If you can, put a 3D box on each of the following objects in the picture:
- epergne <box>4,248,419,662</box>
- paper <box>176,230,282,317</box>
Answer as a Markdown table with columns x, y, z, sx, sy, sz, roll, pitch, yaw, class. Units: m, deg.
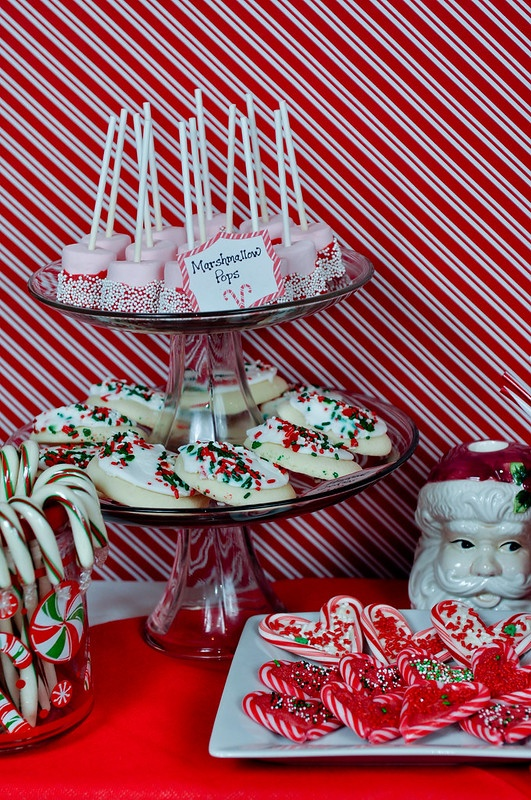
| x | y | z | sx | sy | sz | roll | pitch | yaw | class |
| --- | --- | --- | --- | --- | --- | --- | --- | --- | --- |
| -0.052 | 0.024 | 1.156 | 0.583 | 0.488 | 0.581 | 14 | 22 | 41 | epergne |
| -0.039 | -0.134 | 0.869 | 0.106 | 0.077 | 0.002 | -19 | 6 | -12 | paper |
